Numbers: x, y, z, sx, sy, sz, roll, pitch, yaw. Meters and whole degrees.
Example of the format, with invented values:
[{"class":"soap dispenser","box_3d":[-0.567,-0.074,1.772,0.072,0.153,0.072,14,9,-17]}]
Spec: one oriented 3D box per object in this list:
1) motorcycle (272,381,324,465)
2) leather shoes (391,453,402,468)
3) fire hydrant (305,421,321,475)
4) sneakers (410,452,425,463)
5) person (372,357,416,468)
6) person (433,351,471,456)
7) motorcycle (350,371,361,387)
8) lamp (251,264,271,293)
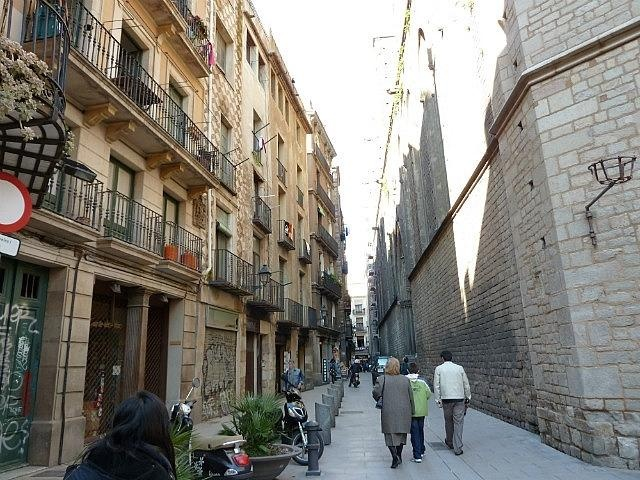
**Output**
[{"class":"motorcycle","box_3d":[-0.771,3.866,9.199,0.734,1.486,2.041,8,-15,-37]},{"class":"leather shoes","box_3d":[1.501,4.296,8.262,0.130,0.323,0.302,2,-12,0]},{"class":"fire hydrant","box_3d":[-0.131,3.883,7.898,0.258,0.914,0.252,-2,-17,-3]},{"class":"sneakers","box_3d":[2.037,4.459,8.681,0.116,0.151,0.332,-1,-22,3]},{"class":"person","box_3d":[1.530,3.426,8.535,0.775,2.065,0.667,-10,-18,21]},{"class":"person","box_3d":[3.008,3.568,9.461,0.764,2.157,0.912,-8,-18,18]},{"class":"motorcycle","box_3d":[2.739,10.346,31.320,0.664,0.969,1.375,3,-17,1]},{"class":"lamp","box_3d":[-2.662,1.781,19.026,0.908,1.642,0.639,-13,-25,22]}]
